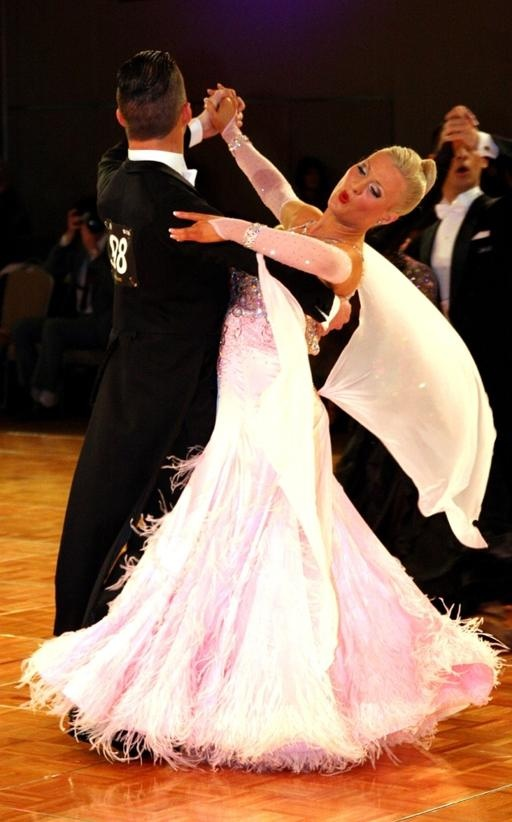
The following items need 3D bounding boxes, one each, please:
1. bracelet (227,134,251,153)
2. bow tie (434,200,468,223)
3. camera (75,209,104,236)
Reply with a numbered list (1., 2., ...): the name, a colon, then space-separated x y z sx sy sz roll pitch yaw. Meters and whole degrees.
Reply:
1. bracelet: -0.046 -0.687 2.015 0.050 0.056 0.029 1 34 -19
2. bow tie: 0.800 -0.814 3.163 0.152 0.082 0.058 4 -20 39
3. camera: -1.577 -1.811 7.386 0.110 0.266 0.245 -8 -9 -29
